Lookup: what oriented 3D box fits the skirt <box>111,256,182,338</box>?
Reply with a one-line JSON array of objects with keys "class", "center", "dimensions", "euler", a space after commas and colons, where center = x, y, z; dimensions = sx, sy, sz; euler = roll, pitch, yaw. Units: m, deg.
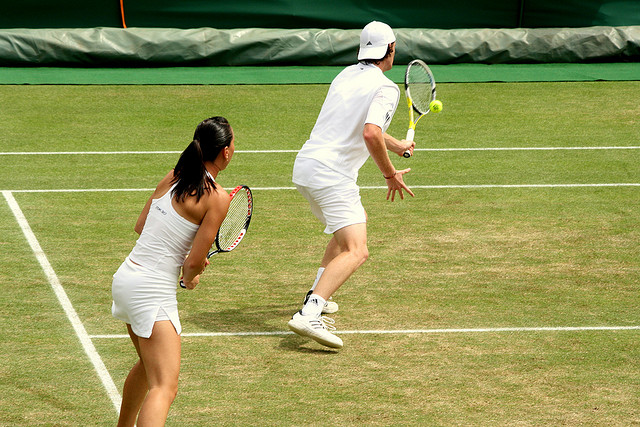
[{"class": "skirt", "center": [-1.483, 0.717, 7.712], "dimensions": [0.596, 0.625, 0.361], "euler": [1, 18, 7]}]
